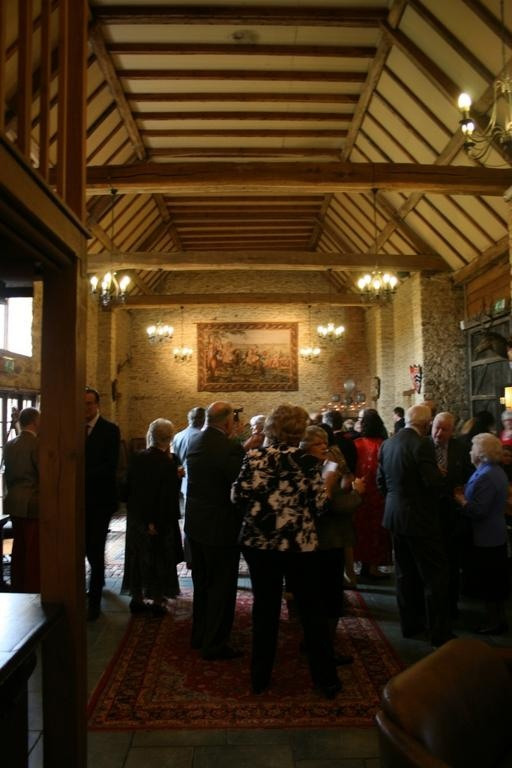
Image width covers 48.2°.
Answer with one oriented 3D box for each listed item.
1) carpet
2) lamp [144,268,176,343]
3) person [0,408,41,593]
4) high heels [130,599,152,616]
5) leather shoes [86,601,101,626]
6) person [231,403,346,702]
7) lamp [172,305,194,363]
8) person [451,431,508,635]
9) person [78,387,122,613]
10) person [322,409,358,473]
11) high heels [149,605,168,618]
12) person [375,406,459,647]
[{"bbox_3d":[-0.118,1.501,3.102,1.346,0.007,1.528,0,-4,8],"label":"carpet"},{"bbox_3d":[-2.116,-1.765,12.618,0.655,1.870,3.035,0,-3,-10],"label":"lamp"},{"bbox_3d":[-1.461,0.724,3.551,0.206,1.132,0.574,1,-4,-23],"label":"person"},{"bbox_3d":[-0.774,1.508,3.829,0.068,0.087,0.205,-2,-14,19],"label":"high heels"},{"bbox_3d":[-1.063,1.504,3.757,0.102,0.164,0.090,0,-11,-3],"label":"leather shoes"},{"bbox_3d":[0.141,0.790,2.697,0.492,1.374,0.329,0,-3,1],"label":"person"},{"bbox_3d":[-1.776,-1.204,13.962,0.476,1.363,0.526,0,-3,-8],"label":"lamp"},{"bbox_3d":[1.384,0.904,3.459,0.260,1.189,0.479,-1,-3,20],"label":"person"},{"bbox_3d":[-1.064,0.794,3.963,0.221,1.499,0.444,1,-3,-16],"label":"person"},{"bbox_3d":[0.650,0.441,4.421,0.217,0.709,0.204,-8,-36,0],"label":"person"},{"bbox_3d":[-0.654,1.512,3.792,0.055,0.072,0.150,3,-7,-3],"label":"high heels"},{"bbox_3d":[0.969,0.817,3.395,0.422,1.343,0.517,2,-5,-27],"label":"person"}]
